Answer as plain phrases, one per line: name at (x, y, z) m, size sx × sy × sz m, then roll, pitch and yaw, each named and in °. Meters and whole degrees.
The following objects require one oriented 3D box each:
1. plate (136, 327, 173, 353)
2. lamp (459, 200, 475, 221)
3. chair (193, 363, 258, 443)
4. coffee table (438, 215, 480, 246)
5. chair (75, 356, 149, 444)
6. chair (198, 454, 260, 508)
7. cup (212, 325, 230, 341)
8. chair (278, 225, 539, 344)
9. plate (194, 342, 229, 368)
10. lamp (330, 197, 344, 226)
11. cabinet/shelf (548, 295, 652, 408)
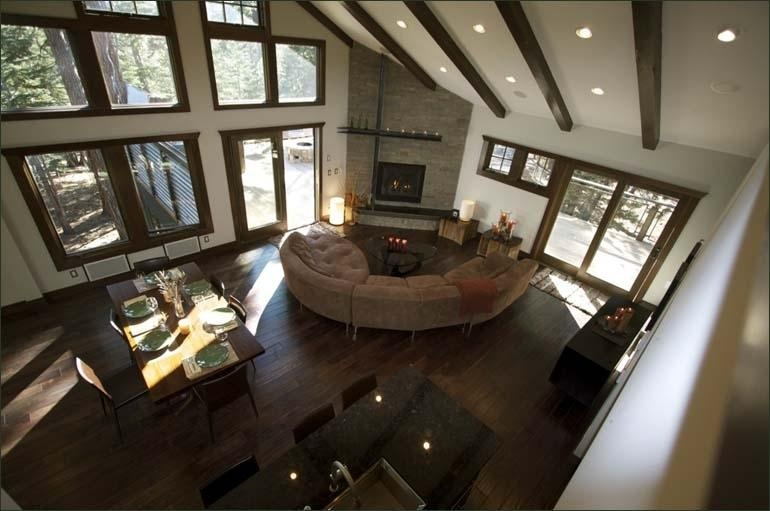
plate at (-2.767, 1.030, 5.577) m, size 0.329 × 0.140 × 0.366 m, roll 17°, pitch 25°, yaw 22°
lamp at (1.723, -0.967, 9.823) m, size 0.339 × 0.382 × 0.342 m, roll -10°, pitch 39°, yaw -20°
chair at (-1.958, 1.698, 5.791) m, size 0.757 × 1.012 × 0.521 m, roll -10°, pitch 30°, yaw -34°
coffee table at (1.607, -0.573, 10.155) m, size 0.666 × 0.493 × 0.679 m, roll 32°, pitch 40°, yaw 33°
chair at (-3.390, 1.841, 5.727) m, size 0.600 × 0.846 × 0.508 m, roll -27°, pitch 63°, yaw -20°
chair at (-1.603, 2.325, 4.719) m, size 0.746 × 0.312 × 0.218 m, roll -30°, pitch 54°, yaw -31°
cup at (-2.032, 0.961, 5.710) m, size 0.140 × 0.167 × 0.153 m, roll 4°, pitch 65°, yaw -9°
chair at (0.172, 0.533, 7.450) m, size 3.862 × 1.167 × 1.662 m, roll 9°, pitch 24°, yaw 4°
plate at (-2.063, 1.191, 5.506) m, size 0.381 × 0.146 × 0.332 m, roll -14°, pitch 31°, yaw -40°
lamp at (-1.030, -0.984, 10.069) m, size 0.358 × 0.633 × 0.262 m, roll -1°, pitch 26°, yaw -18°
cabinet/shelf at (2.754, 1.282, 6.028) m, size 0.528 × 0.684 × 1.354 m, roll 30°, pitch 52°, yaw 32°
